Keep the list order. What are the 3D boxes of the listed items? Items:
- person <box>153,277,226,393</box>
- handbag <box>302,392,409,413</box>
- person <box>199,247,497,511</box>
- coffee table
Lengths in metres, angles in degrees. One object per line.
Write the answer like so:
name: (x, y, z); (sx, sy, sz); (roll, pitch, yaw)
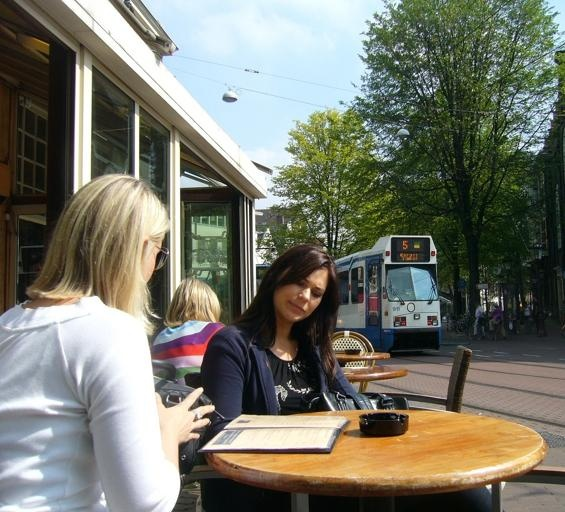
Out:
person: (-0.683, 0.625, 4.362); (0.546, 0.848, 0.550); (4, -2, 25)
handbag: (0.326, 0.694, 2.702); (0.235, 0.080, 0.171); (3, -20, -7)
person: (0.111, 0.928, 3.500); (1.523, 1.925, 0.865); (-26, -33, 34)
coffee table: (0.273, 0.704, 1.992); (0.590, 0.147, 0.600); (-3, -9, 23)
